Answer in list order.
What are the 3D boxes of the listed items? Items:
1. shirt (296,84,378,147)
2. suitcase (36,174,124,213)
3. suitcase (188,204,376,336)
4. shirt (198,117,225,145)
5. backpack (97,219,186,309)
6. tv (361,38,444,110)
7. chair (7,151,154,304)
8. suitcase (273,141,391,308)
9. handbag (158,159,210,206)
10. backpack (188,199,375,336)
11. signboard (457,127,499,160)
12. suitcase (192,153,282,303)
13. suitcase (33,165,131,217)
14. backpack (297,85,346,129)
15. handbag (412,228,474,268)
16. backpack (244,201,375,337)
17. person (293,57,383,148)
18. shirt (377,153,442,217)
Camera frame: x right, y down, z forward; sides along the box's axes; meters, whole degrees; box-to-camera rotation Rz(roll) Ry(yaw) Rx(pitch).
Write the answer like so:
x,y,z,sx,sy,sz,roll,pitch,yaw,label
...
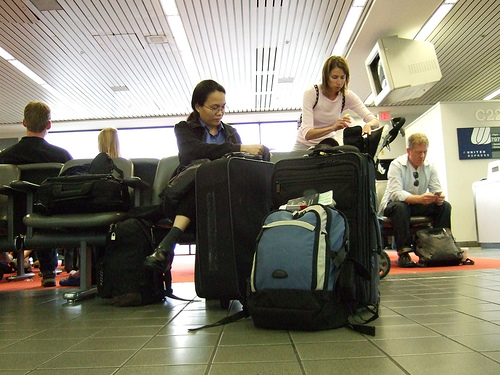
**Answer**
x,y,z,sx,sy,sz,roll,pitch,yaw,label
0.648,-0.530,3.158,0.443,0.532,0.582,-2,5,-19,shirt
-1.067,-0.008,2.792,0.587,0.242,0.565,-4,8,0,suitcase
0.222,0.388,1.891,0.665,0.601,0.303,-5,-21,19,suitcase
-0.274,-0.389,2.744,0.185,0.263,0.137,2,-12,-22,shirt
-0.713,0.406,2.521,0.457,0.539,0.510,-7,19,-35,backpack
2.424,-1.854,6.298,0.917,0.759,0.929,-9,-4,-9,tv
-1.121,0.280,3.038,0.947,1.194,1.071,-3,-9,2,chair
0.418,0.166,2.284,0.565,0.888,0.510,-4,3,15,suitcase
-0.374,-0.039,2.420,0.243,0.330,0.112,13,-12,41,handbag
0.169,0.356,1.853,0.789,0.612,0.412,-5,-11,22,backpack
3.990,-0.770,7.006,0.569,0.425,0.058,0,-12,1,signboard
-0.071,0.225,2.118,0.278,0.818,0.829,-1,-2,16,suitcase
-1.124,0.005,2.734,0.590,0.351,0.427,-4,-5,0,suitcase
0.562,-0.630,3.080,0.291,0.290,0.076,-1,19,-18,backpack
1.811,0.581,3.825,0.512,0.380,0.322,-5,-6,3,handbag
0.251,0.350,1.985,0.732,0.738,0.415,-7,-23,30,backpack
0.672,-0.638,3.045,0.589,0.631,0.739,-3,-4,-11,person
1.704,0.020,4.085,0.539,0.667,0.600,3,7,33,shirt
